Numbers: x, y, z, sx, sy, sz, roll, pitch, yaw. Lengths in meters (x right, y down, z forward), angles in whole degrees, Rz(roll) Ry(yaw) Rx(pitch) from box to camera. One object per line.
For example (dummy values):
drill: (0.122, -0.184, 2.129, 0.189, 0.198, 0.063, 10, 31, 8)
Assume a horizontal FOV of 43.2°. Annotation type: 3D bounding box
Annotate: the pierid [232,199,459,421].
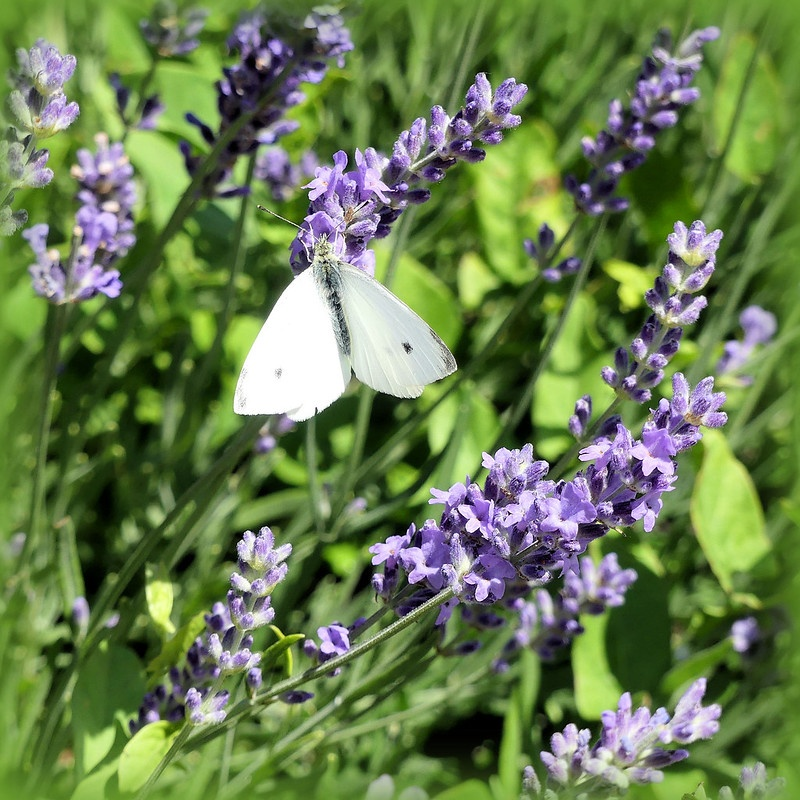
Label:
pierid: (-0.098, -0.075, 1.386, 0.093, 0.274, 0.310, 39, 31, 25)
